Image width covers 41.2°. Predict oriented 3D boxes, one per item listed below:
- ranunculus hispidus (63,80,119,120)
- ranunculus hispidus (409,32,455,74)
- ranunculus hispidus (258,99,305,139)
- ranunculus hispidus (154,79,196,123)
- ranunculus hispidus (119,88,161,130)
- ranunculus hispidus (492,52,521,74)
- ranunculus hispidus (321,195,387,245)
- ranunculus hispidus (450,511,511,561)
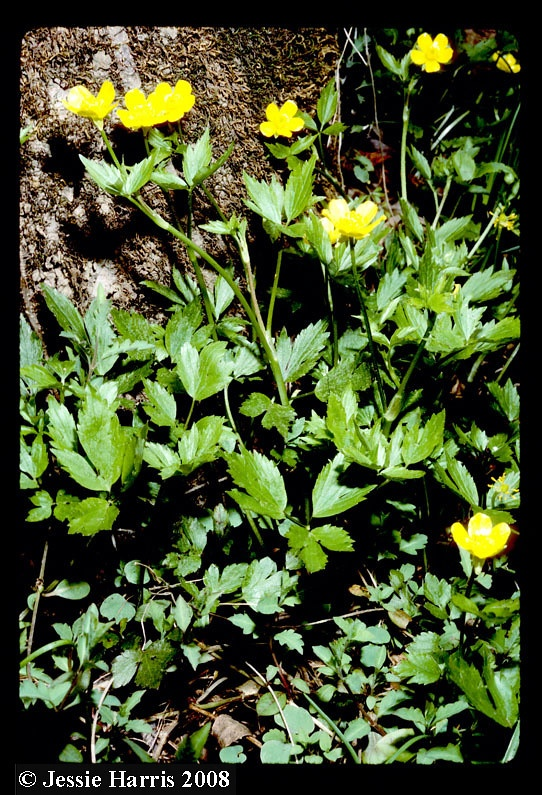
[{"bbox_3d":[-0.310,-0.506,1.250,0.091,0.070,0.158,-2,13,-15],"label":"ranunculus hispidus"},{"bbox_3d":[0.312,-0.677,1.415,0.076,0.077,0.070,4,12,10],"label":"ranunculus hispidus"},{"bbox_3d":[0.020,-0.515,1.340,0.081,0.082,0.040,-17,7,5],"label":"ranunculus hispidus"},{"bbox_3d":[-0.169,-0.511,1.234,0.074,0.072,0.024,14,5,-14],"label":"ranunculus hispidus"},{"bbox_3d":[-0.227,-0.498,1.254,0.071,0.064,0.092,-1,12,-9],"label":"ranunculus hispidus"},{"bbox_3d":[0.486,-0.694,1.499,0.054,0.040,0.040,5,13,15],"label":"ranunculus hispidus"},{"bbox_3d":[0.131,-0.280,1.193,0.100,0.055,0.102,8,42,8],"label":"ranunculus hispidus"},{"bbox_3d":[0.326,0.229,1.126,0.083,0.041,0.083,-21,48,5],"label":"ranunculus hispidus"}]
